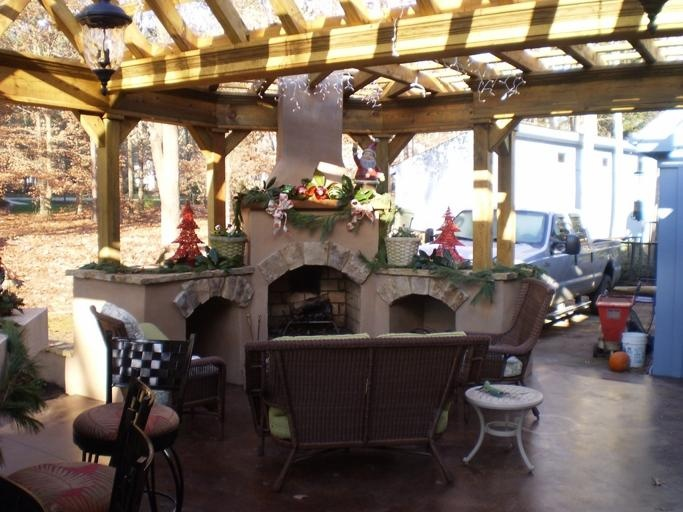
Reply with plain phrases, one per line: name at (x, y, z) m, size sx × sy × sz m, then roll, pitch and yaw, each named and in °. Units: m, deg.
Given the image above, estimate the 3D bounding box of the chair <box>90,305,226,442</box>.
chair at (-1.654, 1.138, 4.739) m, size 0.793 × 0.979 × 0.828 m, roll 7°, pitch -1°, yaw -34°

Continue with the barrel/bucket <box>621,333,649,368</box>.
barrel/bucket at (4.021, 1.277, 7.650) m, size 0.323 × 0.443 × 0.423 m, roll 2°, pitch 7°, yaw 21°

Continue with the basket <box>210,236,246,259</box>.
basket at (-1.454, -0.156, 7.345) m, size 0.313 × 0.223 × 0.330 m, roll 2°, pitch 3°, yaw 15°

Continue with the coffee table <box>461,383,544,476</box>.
coffee table at (1.473, 1.419, 5.044) m, size 0.759 × 0.646 × 0.748 m, roll 0°, pitch 1°, yaw -18°

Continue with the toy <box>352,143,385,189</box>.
toy at (0.361, -1.311, 7.945) m, size 0.426 × 0.590 × 0.468 m, roll -1°, pitch 6°, yaw -6°

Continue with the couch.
couch at (0.183, 1.167, 4.869) m, size 1.855 × 1.317 × 1.198 m, roll 2°, pitch 5°, yaw -9°

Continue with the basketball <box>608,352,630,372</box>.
basketball at (3.735, 1.387, 7.471) m, size 0.296 × 0.252 × 0.227 m, roll 1°, pitch 6°, yaw 9°

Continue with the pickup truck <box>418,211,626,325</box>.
pickup truck at (3.890, -0.048, 10.305) m, size 2.041 × 1.400 × 3.632 m, roll 1°, pitch 2°, yaw 34°

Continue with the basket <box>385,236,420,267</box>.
basket at (0.812, -0.075, 7.626) m, size 0.377 × 0.308 × 0.397 m, roll 1°, pitch 5°, yaw 11°
